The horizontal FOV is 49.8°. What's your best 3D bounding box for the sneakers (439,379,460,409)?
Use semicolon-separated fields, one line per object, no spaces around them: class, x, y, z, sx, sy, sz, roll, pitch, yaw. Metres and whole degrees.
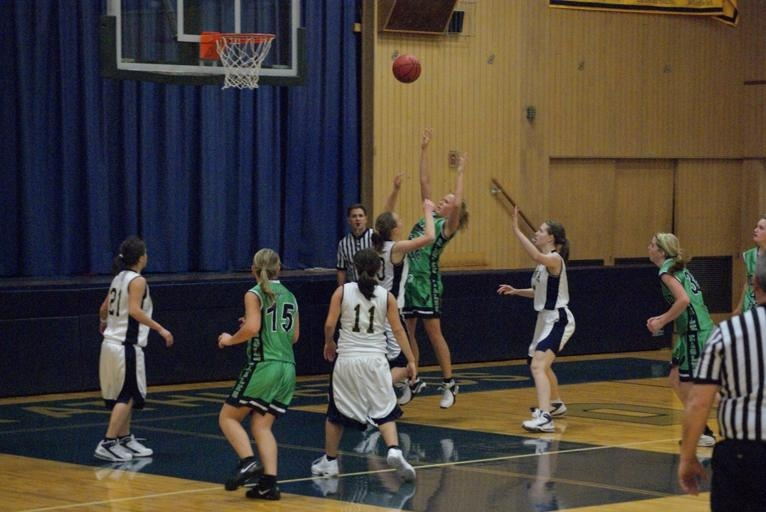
sneakers;0.668;1.370;8.385;0.122;0.167;0.370;-2;9;14

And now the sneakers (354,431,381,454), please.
sneakers;-0.151;1.658;7.302;0.213;0.112;0.350;-3;16;14

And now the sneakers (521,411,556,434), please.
sneakers;1.431;1.534;7.619;0.365;0.206;0.136;5;-8;-27

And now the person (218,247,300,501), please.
person;-0.916;0.869;6.016;0.431;1.779;0.703;3;5;30

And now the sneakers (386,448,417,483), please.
sneakers;0.114;1.593;6.284;0.133;0.379;0.168;-29;32;15

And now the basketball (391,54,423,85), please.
basketball;0.269;-2.294;10.097;0.304;0.330;0.304;0;5;-4

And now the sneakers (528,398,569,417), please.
sneakers;1.617;1.494;8.051;0.476;0.243;0.165;1;-2;-16

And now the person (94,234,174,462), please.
person;-2.159;0.764;6.852;0.509;1.829;0.513;-1;5;-15

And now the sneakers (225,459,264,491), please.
sneakers;-1.011;1.599;5.985;0.248;0.087;0.173;-34;32;-11

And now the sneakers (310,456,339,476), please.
sneakers;-0.461;1.626;6.425;0.235;0.144;0.111;1;2;43

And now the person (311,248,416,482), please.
person;-0.170;0.835;6.349;0.819;1.763;0.537;0;5;2
